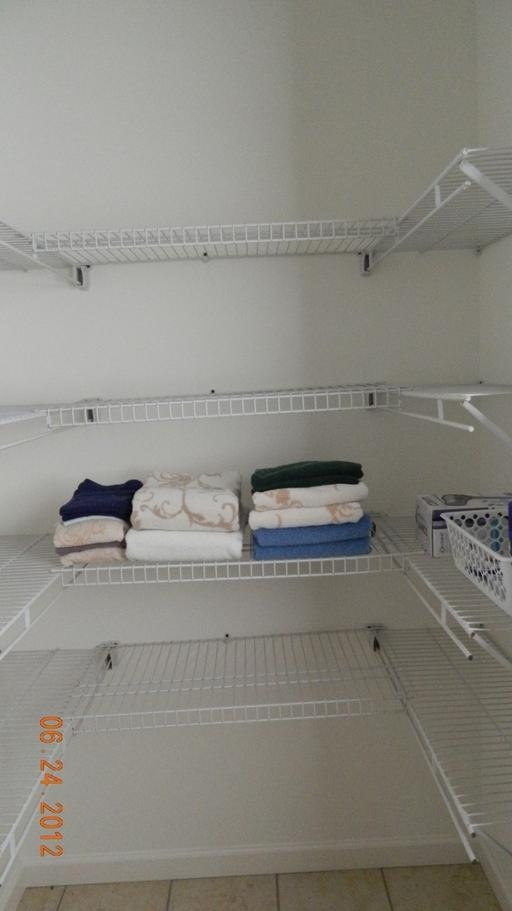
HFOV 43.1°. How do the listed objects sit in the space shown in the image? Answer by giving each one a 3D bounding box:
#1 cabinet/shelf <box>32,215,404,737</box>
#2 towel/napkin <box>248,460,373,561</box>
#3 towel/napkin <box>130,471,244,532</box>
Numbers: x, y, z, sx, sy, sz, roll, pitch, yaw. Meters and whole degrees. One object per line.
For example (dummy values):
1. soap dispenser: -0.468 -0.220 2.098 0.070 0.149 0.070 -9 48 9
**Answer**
1. cabinet/shelf: -0.009 -0.047 1.412 0.823 0.285 0.867 -5 -80 -9
2. towel/napkin: 0.113 0.108 1.344 0.199 0.196 0.151 -2 -82 -1
3. towel/napkin: -0.130 0.099 1.318 0.134 0.137 0.057 0 -76 -1
